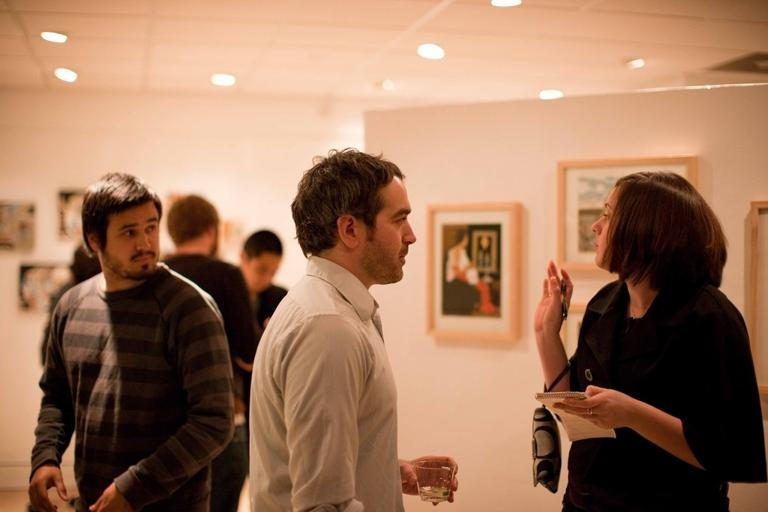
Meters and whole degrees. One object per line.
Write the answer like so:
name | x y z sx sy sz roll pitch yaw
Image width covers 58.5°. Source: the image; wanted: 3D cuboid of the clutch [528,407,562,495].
clutch | 0.852 1.027 3.583 0.228 0.408 0.102 0 -3 35

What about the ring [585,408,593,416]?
ring | 0.936 0.720 3.122 0.036 0.036 0.010 -1 -3 21

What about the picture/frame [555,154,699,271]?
picture/frame | 1.319 -0.239 3.652 0.776 0.677 0.040 0 4 18

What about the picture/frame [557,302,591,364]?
picture/frame | 1.190 0.473 4.314 0.084 0.313 0.340 4 1 10

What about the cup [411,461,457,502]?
cup | 0.218 1.031 3.109 0.153 0.121 0.168 -4 -11 28
